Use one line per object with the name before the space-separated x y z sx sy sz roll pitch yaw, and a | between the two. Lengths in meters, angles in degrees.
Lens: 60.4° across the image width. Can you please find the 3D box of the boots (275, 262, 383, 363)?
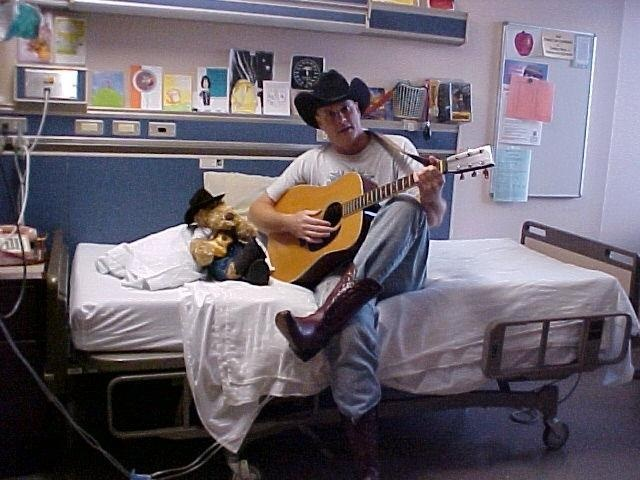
boots | 0.029 0.302 2.273 0.586 0.255 0.194 -30 -10 -22

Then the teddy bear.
teddy bear | -0.476 -0.004 2.619 0.287 0.213 0.537 -20 43 -26

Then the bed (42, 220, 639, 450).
bed | 0.089 0.309 2.541 2.109 0.658 1.208 -5 23 -11

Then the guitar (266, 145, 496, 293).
guitar | 0.262 -0.044 2.692 1.222 0.575 0.167 -24 -32 31

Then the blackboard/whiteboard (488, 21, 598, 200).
blackboard/whiteboard | 1.749 -0.988 4.309 0.875 1.317 0.151 -3 15 -17
